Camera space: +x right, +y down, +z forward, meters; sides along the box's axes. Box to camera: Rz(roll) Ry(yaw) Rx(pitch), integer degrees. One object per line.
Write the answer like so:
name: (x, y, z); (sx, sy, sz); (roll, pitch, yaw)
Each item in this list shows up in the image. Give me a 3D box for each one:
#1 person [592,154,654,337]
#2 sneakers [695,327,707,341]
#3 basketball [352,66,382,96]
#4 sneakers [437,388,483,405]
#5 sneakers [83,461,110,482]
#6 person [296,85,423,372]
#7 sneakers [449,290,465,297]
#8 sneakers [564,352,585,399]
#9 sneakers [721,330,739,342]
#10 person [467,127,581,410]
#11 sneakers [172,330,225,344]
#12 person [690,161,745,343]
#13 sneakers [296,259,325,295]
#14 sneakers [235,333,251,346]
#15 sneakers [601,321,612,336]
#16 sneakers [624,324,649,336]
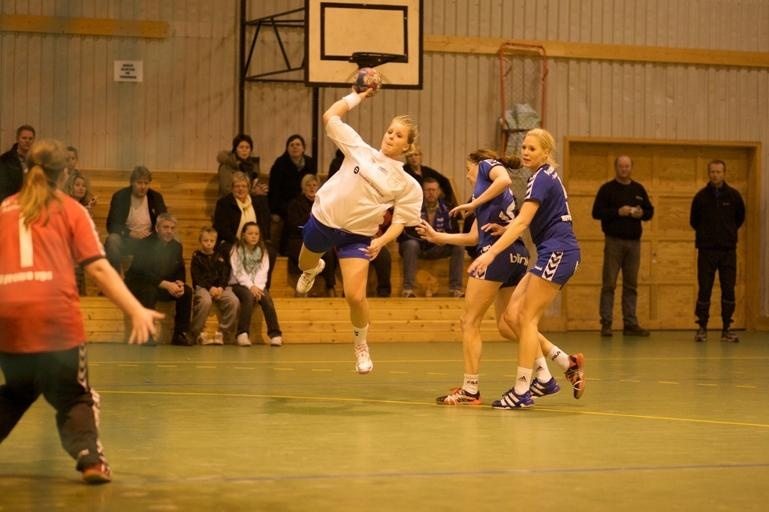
person: (3.592, -0.162, 13.288); (0.868, 2.725, 0.644); (2, 5, 6)
sneakers: (4.655, 1.167, 12.919); (0.136, 0.138, 0.335); (-3, -5, 15)
basketball: (-0.152, -1.630, 8.296); (0.299, 0.225, 0.227); (-30, 57, -34)
sneakers: (0.656, 1.221, 7.701); (0.418, 0.160, 0.146); (3, -6, 1)
sneakers: (-1.869, 1.389, 5.648); (0.174, 0.115, 0.108); (-8, -6, 33)
person: (-0.237, -0.209, 8.425); (1.131, 2.753, 1.179); (1, 5, -7)
sneakers: (1.055, 0.541, 12.744); (0.084, 0.100, 0.222); (0, -5, -40)
sneakers: (1.736, 1.041, 7.837); (0.195, 0.423, 0.159); (-10, 7, -1)
sneakers: (5.095, 1.184, 12.948); (0.145, 0.126, 0.304); (-1, -6, -8)
person: (1.252, 0.109, 7.531); (0.631, 2.449, 1.139); (5, 6, 43)
sneakers: (-2.415, 1.084, 11.435); (0.626, 0.257, 0.225); (4, -4, -6)
person: (4.954, -0.103, 13.001); (0.785, 2.635, 0.852); (1, 4, 1)
sneakers: (-0.855, 0.236, 10.242); (0.164, 0.485, 0.201); (33, -19, 3)
sneakers: (-1.830, 1.072, 11.421); (0.158, 0.156, 0.229); (0, 5, -17)
sneakers: (3.355, 1.084, 13.239); (0.150, 0.222, 0.211); (2, 5, 13)
sneakers: (3.881, 1.132, 13.446); (0.404, 0.166, 0.151); (-2, -1, 22)
